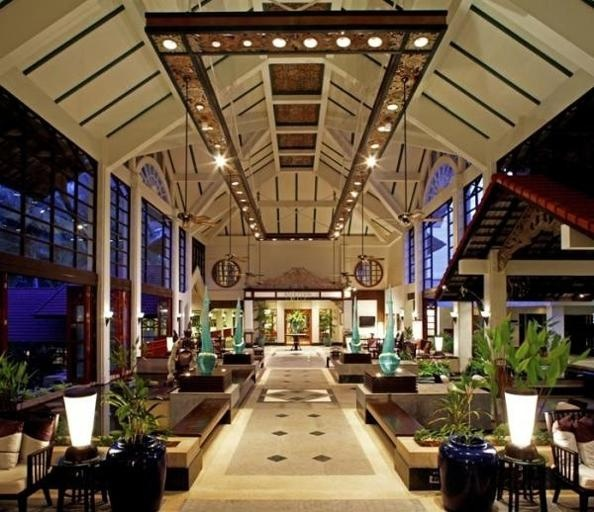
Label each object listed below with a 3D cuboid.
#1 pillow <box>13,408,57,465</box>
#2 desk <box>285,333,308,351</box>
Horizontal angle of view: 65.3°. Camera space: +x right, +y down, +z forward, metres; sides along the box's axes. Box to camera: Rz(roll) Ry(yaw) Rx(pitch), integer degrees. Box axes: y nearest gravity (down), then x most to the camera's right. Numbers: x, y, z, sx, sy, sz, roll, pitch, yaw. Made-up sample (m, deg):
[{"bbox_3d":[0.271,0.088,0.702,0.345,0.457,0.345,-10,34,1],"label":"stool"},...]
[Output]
[{"bbox_3d":[-2.691,1.824,4.828,0.356,0.426,0.137,1,-20,-3],"label":"pillow"},{"bbox_3d":[0.019,5.157,27.375,1.066,0.822,1.179,0,-8,1],"label":"desk"}]
